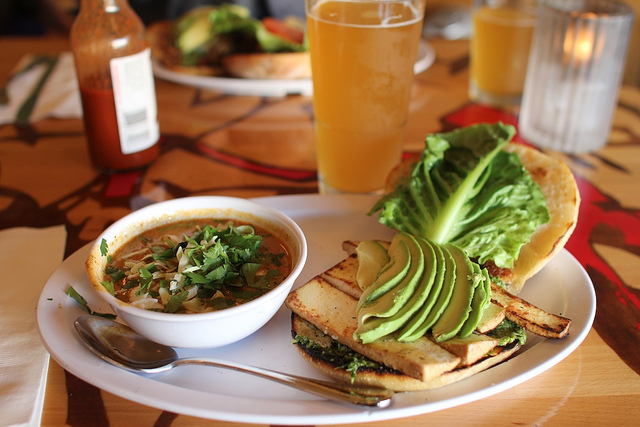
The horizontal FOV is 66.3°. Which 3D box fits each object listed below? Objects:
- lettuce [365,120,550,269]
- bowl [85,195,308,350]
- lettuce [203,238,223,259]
[{"bbox_3d":[0.490,0.032,1.664,0.256,0.771,0.667,12,9,32],"label":"lettuce"},{"bbox_3d":[-0.338,0.178,1.392,0.583,0.256,0.563,4,29,-2],"label":"bowl"},{"bbox_3d":[-0.290,0.095,1.317,0.029,0.050,0.015,32,5,1],"label":"lettuce"}]
